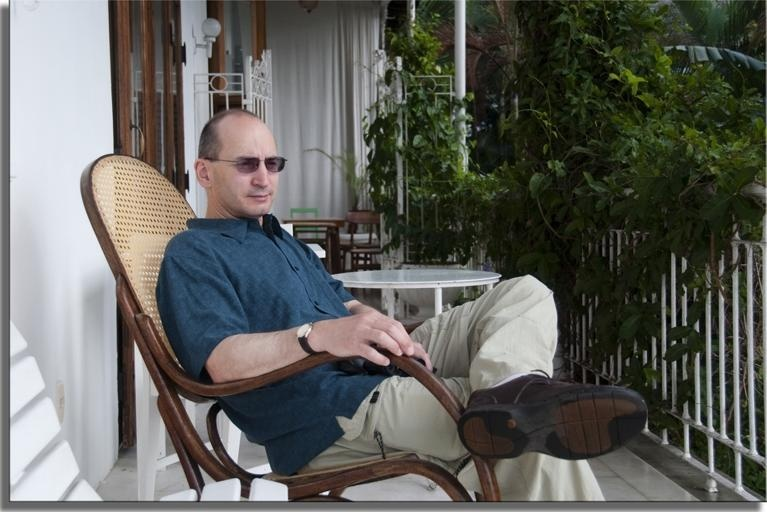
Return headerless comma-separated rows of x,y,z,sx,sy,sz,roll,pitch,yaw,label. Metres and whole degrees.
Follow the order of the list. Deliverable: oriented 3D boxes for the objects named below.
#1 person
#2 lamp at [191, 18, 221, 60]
-0.114,0.145,3.273,1.618,1.506,0.677,1,8,13,person
-1.611,-1.938,7.192,0.176,0.297,0.160,2,-1,18,lamp
